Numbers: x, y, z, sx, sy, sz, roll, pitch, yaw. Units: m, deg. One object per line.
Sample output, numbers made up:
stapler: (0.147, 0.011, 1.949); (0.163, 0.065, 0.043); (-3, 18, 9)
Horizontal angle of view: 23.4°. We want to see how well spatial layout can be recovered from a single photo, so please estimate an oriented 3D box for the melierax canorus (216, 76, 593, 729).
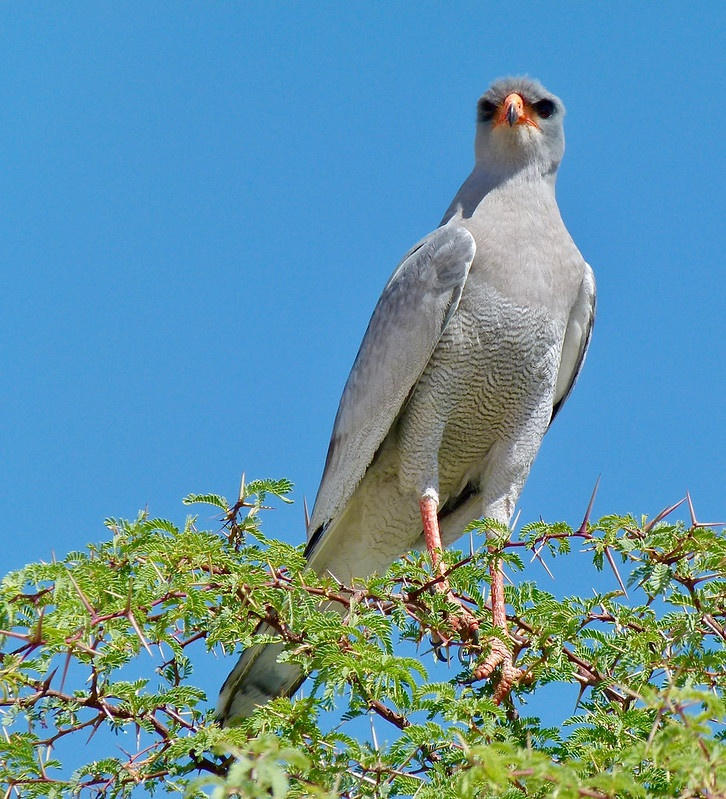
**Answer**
melierax canorus: (0.199, 0.235, 5.432); (0.594, 1.851, 1.576); (23, -50, -21)
